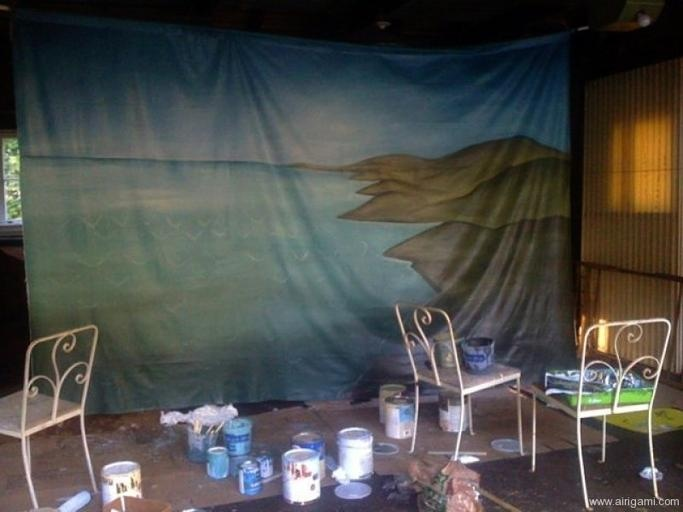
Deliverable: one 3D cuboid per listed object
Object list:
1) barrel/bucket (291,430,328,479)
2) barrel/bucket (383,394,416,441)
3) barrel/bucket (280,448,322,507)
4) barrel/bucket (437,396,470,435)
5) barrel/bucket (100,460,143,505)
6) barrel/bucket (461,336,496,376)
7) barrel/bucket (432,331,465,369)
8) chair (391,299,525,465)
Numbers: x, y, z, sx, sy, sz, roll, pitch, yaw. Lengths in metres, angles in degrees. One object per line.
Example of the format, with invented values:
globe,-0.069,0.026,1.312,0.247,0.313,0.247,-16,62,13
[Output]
barrel/bucket,-0.202,1.143,3.530,0.242,0.246,0.236,1,6,0
barrel/bucket,0.357,1.095,4.030,0.251,0.253,0.239,-3,-8,0
barrel/bucket,-0.217,1.195,3.231,0.265,0.270,0.255,0,-2,0
barrel/bucket,0.731,1.068,4.034,0.256,0.256,0.250,0,-4,0
barrel/bucket,-1.168,1.180,3.170,0.245,0.236,0.231,-1,-3,0
barrel/bucket,0.866,0.641,3.816,0.177,0.157,0.215,-12,11,-42
barrel/bucket,0.698,0.647,3.926,0.208,0.206,0.192,-5,-7,-1
chair,0.752,0.783,3.822,0.713,0.978,0.623,-3,4,-16
